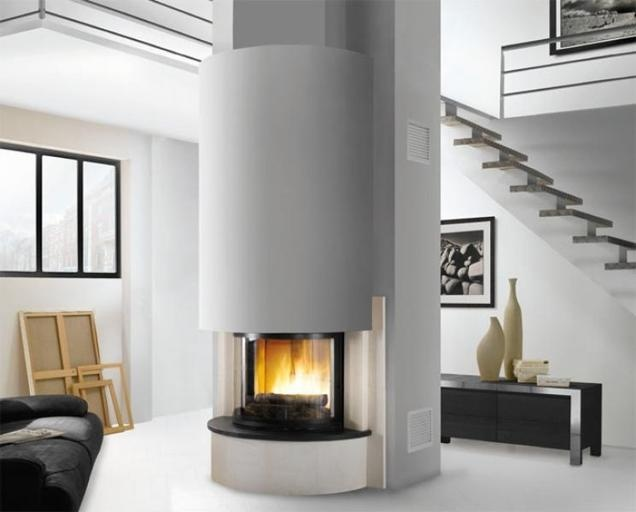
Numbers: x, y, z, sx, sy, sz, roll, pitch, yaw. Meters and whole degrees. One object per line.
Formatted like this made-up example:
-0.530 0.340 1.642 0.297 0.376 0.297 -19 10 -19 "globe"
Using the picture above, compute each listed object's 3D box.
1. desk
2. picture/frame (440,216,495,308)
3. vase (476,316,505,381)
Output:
1.870 1.525 5.292 1.399 0.659 0.485 -4 -7 31 "desk"
1.754 0.081 6.479 0.973 1.191 0.040 -1 -3 44 "picture/frame"
1.724 0.918 5.522 0.292 0.621 0.237 0 -5 0 "vase"
